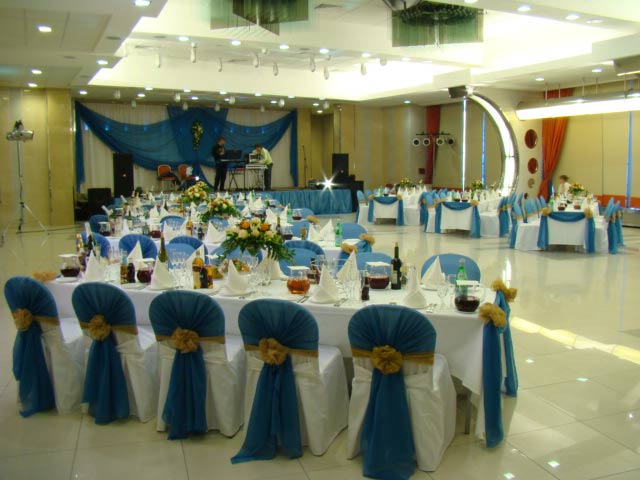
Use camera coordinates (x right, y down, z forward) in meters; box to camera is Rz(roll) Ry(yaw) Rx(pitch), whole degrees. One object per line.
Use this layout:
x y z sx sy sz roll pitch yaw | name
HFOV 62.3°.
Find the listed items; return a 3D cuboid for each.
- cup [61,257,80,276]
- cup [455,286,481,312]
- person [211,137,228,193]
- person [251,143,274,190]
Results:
-2.385 0.256 5.078 0.173 0.210 0.144 -1 1 -2 | cup
1.156 0.458 4.140 0.146 0.184 0.211 0 -1 24 | cup
-3.170 -2.396 16.932 0.457 1.672 1.967 -3 11 -11 | person
-1.899 -2.348 17.266 0.612 1.464 1.524 -2 10 -3 | person
